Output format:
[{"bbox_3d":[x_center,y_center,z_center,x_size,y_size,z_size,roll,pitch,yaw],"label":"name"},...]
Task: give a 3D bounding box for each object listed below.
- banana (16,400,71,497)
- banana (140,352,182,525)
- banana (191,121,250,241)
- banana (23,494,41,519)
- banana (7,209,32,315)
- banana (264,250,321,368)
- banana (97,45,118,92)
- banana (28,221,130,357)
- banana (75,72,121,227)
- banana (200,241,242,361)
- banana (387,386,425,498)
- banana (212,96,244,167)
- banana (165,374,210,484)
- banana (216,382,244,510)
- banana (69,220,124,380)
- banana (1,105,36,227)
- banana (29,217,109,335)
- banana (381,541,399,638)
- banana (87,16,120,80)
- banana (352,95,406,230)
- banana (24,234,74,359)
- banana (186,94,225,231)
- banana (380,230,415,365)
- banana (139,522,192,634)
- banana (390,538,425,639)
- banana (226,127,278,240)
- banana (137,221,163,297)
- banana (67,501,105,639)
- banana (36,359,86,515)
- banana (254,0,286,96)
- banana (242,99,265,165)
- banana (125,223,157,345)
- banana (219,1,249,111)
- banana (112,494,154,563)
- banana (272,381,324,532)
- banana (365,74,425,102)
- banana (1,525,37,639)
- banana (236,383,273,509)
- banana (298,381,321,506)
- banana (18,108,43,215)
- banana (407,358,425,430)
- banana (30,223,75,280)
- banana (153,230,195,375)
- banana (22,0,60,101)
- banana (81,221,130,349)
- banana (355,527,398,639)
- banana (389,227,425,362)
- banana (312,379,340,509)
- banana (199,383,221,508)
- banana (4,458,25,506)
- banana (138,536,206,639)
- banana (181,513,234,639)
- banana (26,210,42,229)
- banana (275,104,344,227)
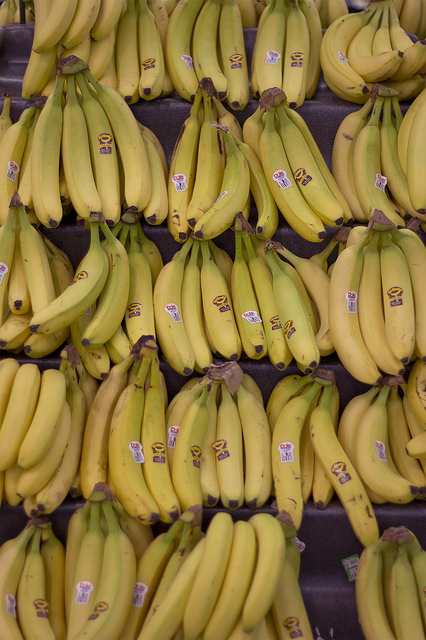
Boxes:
[{"bbox_3d":[-0.441,0.378,1.480,0.064,0.093,0.336,2,76,21],"label":"banana"},{"bbox_3d":[-0.147,0.340,1.539,0.066,0.141,0.470,9,61,-34],"label":"banana"},{"bbox_3d":[0.047,-0.443,1.813,0.147,0.171,0.472,4,49,17],"label":"banana"},{"bbox_3d":[-0.482,0.484,1.474,0.020,0.041,0.071,11,50,-47],"label":"banana"},{"bbox_3d":[-0.598,-0.143,1.746,0.071,0.368,0.102,-7,-9,40],"label":"banana"},{"bbox_3d":[0.229,-0.038,1.720,0.078,0.130,0.427,-5,66,-17],"label":"banana"},{"bbox_3d":[-0.395,-0.896,2.042,0.036,0.188,0.049,12,-1,-45],"label":"banana"},{"bbox_3d":[-0.439,-0.080,1.679,0.407,0.170,0.116,32,18,18],"label":"banana"},{"bbox_3d":[-0.378,-0.536,1.800,0.076,0.512,0.146,-9,3,12],"label":"banana"},{"bbox_3d":[-0.005,-0.057,1.777,0.072,0.130,0.448,-12,73,8],"label":"banana"},{"bbox_3d":[0.568,0.363,1.623,0.039,0.097,0.305,-7,79,7],"label":"banana"},{"bbox_3d":[0.055,-0.696,1.956,0.052,0.328,0.075,-20,-15,21],"label":"banana"},{"bbox_3d":[-0.073,0.283,1.695,0.093,0.092,0.368,4,62,23],"label":"banana"},{"bbox_3d":[0.050,0.372,1.578,0.056,0.123,0.389,-8,68,6],"label":"banana"},{"bbox_3d":[-0.325,-0.077,1.749,0.140,0.089,0.535,-8,68,44],"label":"banana"},{"bbox_3d":[-0.646,-0.492,1.844,0.075,0.137,0.443,6,75,-5],"label":"banana"},{"bbox_3d":[-0.392,-0.113,1.575,0.090,0.211,0.346,42,92,16],"label":"banana"},{"bbox_3d":[0.432,0.669,1.404,0.056,0.222,0.043,2,-9,-17],"label":"banana"},{"bbox_3d":[-0.403,-0.940,2.041,0.061,0.363,0.100,9,-4,-27],"label":"banana"},{"bbox_3d":[0.580,-0.538,1.964,0.172,0.633,0.122,9,-11,-31],"label":"banana"},{"bbox_3d":[-0.522,-0.072,1.752,0.089,0.124,0.425,-15,66,31],"label":"banana"},{"bbox_3d":[-0.015,-0.510,1.879,0.086,0.577,0.175,-1,-8,15],"label":"banana"},{"bbox_3d":[0.545,-0.074,1.619,0.081,0.290,0.247,-1,29,4],"label":"banana"},{"bbox_3d":[-0.110,0.616,1.312,0.072,0.039,0.242,-7,53,51],"label":"banana"},{"bbox_3d":[0.460,0.656,1.316,0.044,0.092,0.291,-7,64,8],"label":"banana"},{"bbox_3d":[0.133,-0.451,1.858,0.073,0.385,0.145,-18,-14,30],"label":"banana"},{"bbox_3d":[-0.205,-0.215,1.930,0.054,0.319,0.095,-7,5,-8],"label":"banana"},{"bbox_3d":[-0.311,0.621,1.356,0.041,0.107,0.338,16,48,-16],"label":"banana"},{"bbox_3d":[-0.431,0.295,1.557,0.071,0.143,0.468,-1,75,9],"label":"banana"},{"bbox_3d":[0.229,-1.025,2.164,0.077,0.155,0.506,4,76,9],"label":"banana"},{"bbox_3d":[0.148,-0.673,1.989,0.053,0.251,0.073,-4,15,-37],"label":"banana"},{"bbox_3d":[-0.226,-0.118,1.788,0.062,0.126,0.431,-3,72,-1],"label":"banana"},{"bbox_3d":[0.078,-0.998,2.105,0.078,0.140,0.538,-2,78,-2],"label":"banana"},{"bbox_3d":[-0.209,0.532,1.424,0.054,0.215,0.063,-28,15,-9],"label":"banana"},{"bbox_3d":[0.254,0.349,1.594,0.073,0.132,0.453,-7,62,39],"label":"banana"},{"bbox_3d":[0.668,-0.853,2.043,0.168,0.065,0.158,7,56,-4],"label":"banana"},{"bbox_3d":[-0.473,0.647,1.355,0.035,0.064,0.187,18,53,-12],"label":"banana"},{"bbox_3d":[0.116,0.368,1.591,0.071,0.107,0.356,-3,60,2],"label":"banana"},{"bbox_3d":[0.295,0.353,1.686,0.061,0.387,0.106,13,-14,-36],"label":"banana"},{"bbox_3d":[-0.598,-0.507,1.815,0.056,0.116,0.394,4,78,-12],"label":"banana"},{"bbox_3d":[0.608,0.215,1.682,0.054,0.050,0.207,-17,51,32],"label":"banana"},{"bbox_3d":[-0.524,-0.219,1.787,0.192,0.051,0.041,52,26,3],"label":"banana"},{"bbox_3d":[-0.108,-0.017,1.774,0.093,0.162,0.548,6,66,-16],"label":"banana"},{"bbox_3d":[-0.608,-0.901,1.928,0.077,0.495,0.146,5,18,3],"label":"banana"},{"bbox_3d":[-0.321,-0.088,1.710,0.086,0.164,0.519,-18,48,12],"label":"banana"},{"bbox_3d":[0.388,0.610,1.397,0.092,0.073,0.328,17,61,-34],"label":"banana"},{"bbox_3d":[0.572,-0.127,1.698,0.077,0.503,0.131,-7,-2,15],"label":"banana"},{"bbox_3d":[0.362,0.338,1.657,0.066,0.117,0.418,8,75,-10],"label":"banana"},{"bbox_3d":[-0.016,0.337,1.596,0.042,0.126,0.375,4,67,-17],"label":"banana"},{"bbox_3d":[-0.548,0.414,1.545,0.036,0.051,0.176,-16,60,18],"label":"banana"},{"bbox_3d":[-0.093,0.619,1.274,0.066,0.046,0.232,23,55,4],"label":"banana"},{"bbox_3d":[0.002,0.508,1.276,0.061,0.109,0.358,15,63,2],"label":"banana"},{"bbox_3d":[-0.580,-0.321,1.783,0.016,0.069,0.039,-16,8,-6],"label":"banana"},{"bbox_3d":[0.327,-0.520,1.906,0.074,0.455,0.133,-18,-4,3],"label":"banana"}]
